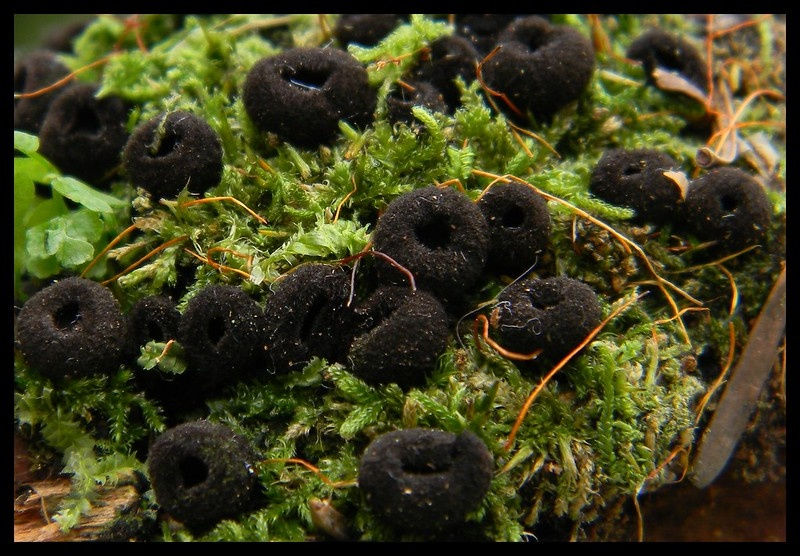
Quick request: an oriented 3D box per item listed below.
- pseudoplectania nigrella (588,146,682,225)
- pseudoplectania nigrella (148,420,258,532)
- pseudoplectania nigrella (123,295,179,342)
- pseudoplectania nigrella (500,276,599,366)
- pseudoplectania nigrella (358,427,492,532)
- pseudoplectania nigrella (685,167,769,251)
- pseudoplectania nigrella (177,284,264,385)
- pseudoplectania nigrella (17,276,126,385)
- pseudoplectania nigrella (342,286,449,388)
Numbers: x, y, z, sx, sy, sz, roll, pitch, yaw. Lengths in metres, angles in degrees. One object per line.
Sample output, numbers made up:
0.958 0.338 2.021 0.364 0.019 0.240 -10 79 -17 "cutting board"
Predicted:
1.050 -0.416 3.365 0.398 0.161 0.304 18 67 6 "pseudoplectania nigrella"
-0.826 0.765 3.133 0.441 0.384 0.185 -29 90 -32 "pseudoplectania nigrella"
-1.032 0.179 3.218 0.227 0.104 0.188 -3 67 -3 "pseudoplectania nigrella"
0.632 0.208 3.221 0.377 0.193 0.318 -39 63 -13 "pseudoplectania nigrella"
0.099 0.773 2.939 0.509 0.174 0.353 5 66 0 "pseudoplectania nigrella"
1.439 -0.308 3.348 0.386 0.174 0.314 26 68 9 "pseudoplectania nigrella"
-0.738 0.236 3.169 0.356 0.223 0.327 -36 72 -16 "pseudoplectania nigrella"
-1.362 0.228 3.196 0.411 0.136 0.426 -35 72 -16 "pseudoplectania nigrella"
0.000 0.254 3.074 0.361 0.217 0.423 2 88 -9 "pseudoplectania nigrella"
